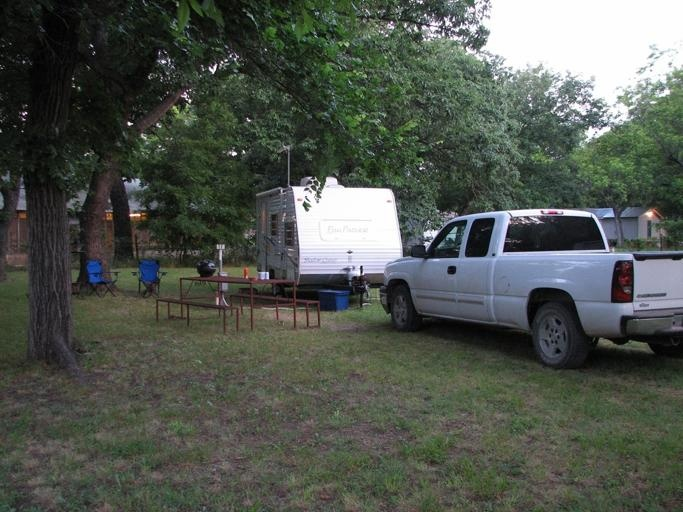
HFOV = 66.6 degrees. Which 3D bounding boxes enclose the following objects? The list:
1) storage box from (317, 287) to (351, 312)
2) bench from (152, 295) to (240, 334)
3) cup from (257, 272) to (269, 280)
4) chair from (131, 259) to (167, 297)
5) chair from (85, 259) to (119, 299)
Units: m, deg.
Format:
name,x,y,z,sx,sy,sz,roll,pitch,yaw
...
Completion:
name,x,y,z,sx,sy,sz,roll,pitch,yaw
storage box,-0.194,1.130,13.066,0.473,0.434,0.638,2,-4,-40
bench,-3.010,1.156,10.632,1.905,0.499,0.325,5,18,23
cup,-1.761,0.448,11.568,0.235,0.173,0.254,-1,-1,0
chair,-5.719,0.681,15.345,0.909,1.147,0.983,1,0,36
chair,-7.240,0.642,15.635,0.761,1.134,0.713,-2,1,34
